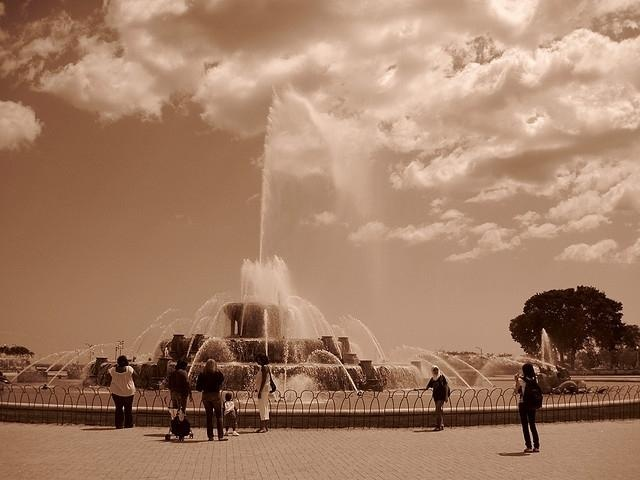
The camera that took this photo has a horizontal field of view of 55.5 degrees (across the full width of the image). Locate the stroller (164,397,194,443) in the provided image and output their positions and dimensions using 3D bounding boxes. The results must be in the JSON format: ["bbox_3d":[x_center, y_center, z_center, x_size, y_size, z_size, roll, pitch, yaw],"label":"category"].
[{"bbox_3d":[-3.137,3.929,13.708,0.557,1.050,0.732,0,-9,-14],"label":"stroller"}]

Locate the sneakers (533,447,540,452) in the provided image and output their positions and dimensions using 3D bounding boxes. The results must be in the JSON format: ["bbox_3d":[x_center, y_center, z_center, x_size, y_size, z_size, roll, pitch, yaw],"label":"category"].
[{"bbox_3d":[4.417,4.313,12.508,0.129,0.073,0.322,-8,-14,19],"label":"sneakers"}]

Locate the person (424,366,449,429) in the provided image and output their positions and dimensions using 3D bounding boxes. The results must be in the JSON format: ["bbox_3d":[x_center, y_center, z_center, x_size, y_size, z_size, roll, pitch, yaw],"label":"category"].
[{"bbox_3d":[3.097,4.120,15.906,0.577,1.599,2.186,-5,-13,10],"label":"person"}]

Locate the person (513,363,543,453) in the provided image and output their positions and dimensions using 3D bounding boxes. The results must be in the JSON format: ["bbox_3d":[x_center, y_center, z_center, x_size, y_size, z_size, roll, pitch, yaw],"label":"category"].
[{"bbox_3d":[4.496,3.562,13.075,0.504,1.773,1.273,-7,-13,17],"label":"person"}]

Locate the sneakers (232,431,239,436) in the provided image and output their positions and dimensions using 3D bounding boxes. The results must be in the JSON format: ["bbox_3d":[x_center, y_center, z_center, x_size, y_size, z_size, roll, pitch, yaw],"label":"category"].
[{"bbox_3d":[-1.932,4.482,14.095,0.125,0.084,0.071,-8,-12,31],"label":"sneakers"}]

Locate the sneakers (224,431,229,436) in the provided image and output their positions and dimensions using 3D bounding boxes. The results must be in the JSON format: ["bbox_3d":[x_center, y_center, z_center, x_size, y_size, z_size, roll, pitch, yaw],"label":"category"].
[{"bbox_3d":[-2.126,4.452,14.017,0.085,0.150,0.081,3,-20,-9],"label":"sneakers"}]

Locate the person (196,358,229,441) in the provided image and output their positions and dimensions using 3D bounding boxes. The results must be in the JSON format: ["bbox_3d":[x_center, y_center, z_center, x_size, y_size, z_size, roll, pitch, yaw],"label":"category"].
[{"bbox_3d":[-2.424,3.569,13.629,0.625,1.761,0.580,0,-13,-12],"label":"person"}]

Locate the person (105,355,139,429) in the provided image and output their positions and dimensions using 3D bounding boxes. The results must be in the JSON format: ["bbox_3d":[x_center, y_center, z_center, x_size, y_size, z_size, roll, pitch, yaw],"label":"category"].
[{"bbox_3d":[-4.851,3.760,15.025,0.569,1.727,0.927,1,-13,-19],"label":"person"}]
